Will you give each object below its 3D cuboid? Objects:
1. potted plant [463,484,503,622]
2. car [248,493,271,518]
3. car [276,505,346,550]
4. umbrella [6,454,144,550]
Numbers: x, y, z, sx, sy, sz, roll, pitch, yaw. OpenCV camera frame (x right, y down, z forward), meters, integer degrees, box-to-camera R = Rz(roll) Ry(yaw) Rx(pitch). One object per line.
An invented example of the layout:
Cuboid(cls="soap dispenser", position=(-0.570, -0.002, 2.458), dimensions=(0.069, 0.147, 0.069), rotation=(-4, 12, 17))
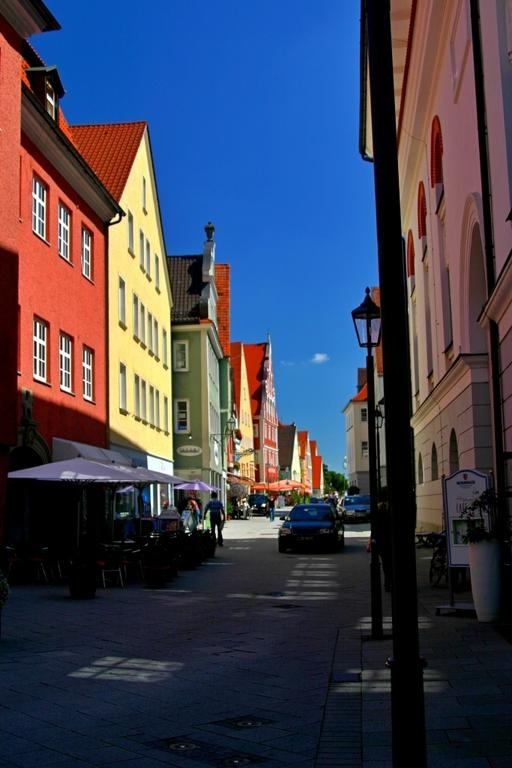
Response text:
Cuboid(cls="potted plant", position=(2.759, 2.034, 9.103), dimensions=(0.307, 1.445, 0.448), rotation=(-7, -15, 4))
Cuboid(cls="car", position=(0.163, 10.840, 68.956), dimensions=(1.598, 2.270, 3.378), rotation=(-1, -13, 1))
Cuboid(cls="car", position=(1.792, 4.748, 24.940), dimensions=(2.069, 1.670, 2.520), rotation=(-5, -13, 7))
Cuboid(cls="umbrella", position=(-4.007, 2.799, 15.222), dimensions=(2.049, 1.039, 2.510), rotation=(-12, -16, 29))
